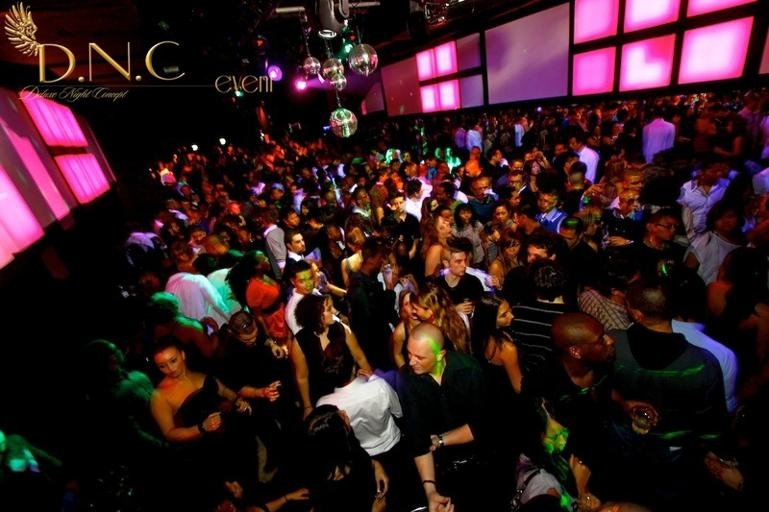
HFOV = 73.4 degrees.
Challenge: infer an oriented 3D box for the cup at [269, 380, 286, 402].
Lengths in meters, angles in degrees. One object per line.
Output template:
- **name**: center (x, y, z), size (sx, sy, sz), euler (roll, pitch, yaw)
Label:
- **cup**: center (-1.438, 1.789, 6.858), size (0.160, 0.318, 0.315), euler (-1, 23, 4)
